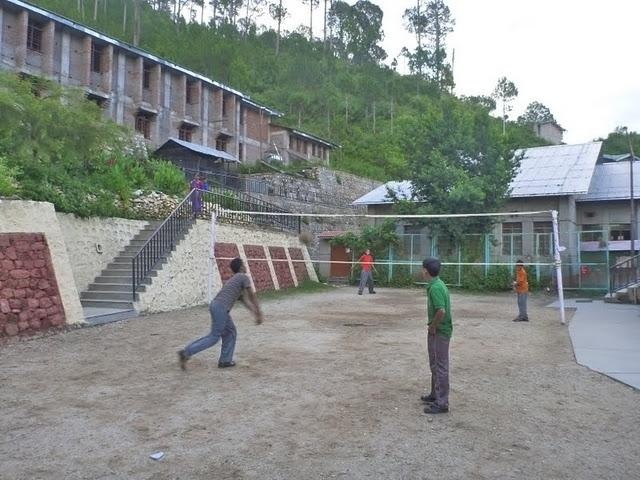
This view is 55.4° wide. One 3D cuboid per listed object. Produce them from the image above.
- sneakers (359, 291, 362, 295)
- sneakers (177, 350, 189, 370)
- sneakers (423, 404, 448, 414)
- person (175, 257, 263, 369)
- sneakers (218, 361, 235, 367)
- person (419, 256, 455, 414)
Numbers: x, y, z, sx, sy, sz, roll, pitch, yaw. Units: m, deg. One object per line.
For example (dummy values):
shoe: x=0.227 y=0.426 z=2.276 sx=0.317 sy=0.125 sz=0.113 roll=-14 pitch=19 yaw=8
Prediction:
sneakers: x=1.609 y=2.009 z=23.823 sx=0.137 sy=0.135 sz=0.100 roll=0 pitch=1 yaw=3
sneakers: x=-2.511 y=2.195 z=11.361 sx=0.150 sy=0.422 sz=0.188 roll=-6 pitch=-5 yaw=14
sneakers: x=1.871 y=2.696 z=9.751 sx=0.358 sy=0.157 sz=0.155 roll=4 pitch=-2 yaw=5
person: x=-1.889 y=1.423 z=11.618 sx=1.547 sy=2.043 sz=0.624 roll=-8 pitch=15 yaw=-36
sneakers: x=-1.771 y=2.336 z=11.663 sx=0.314 sy=0.139 sz=0.111 roll=-2 pitch=4 yaw=-14
person: x=1.903 y=1.516 z=9.918 sx=0.532 sy=2.401 sz=0.910 roll=3 pitch=12 yaw=9
